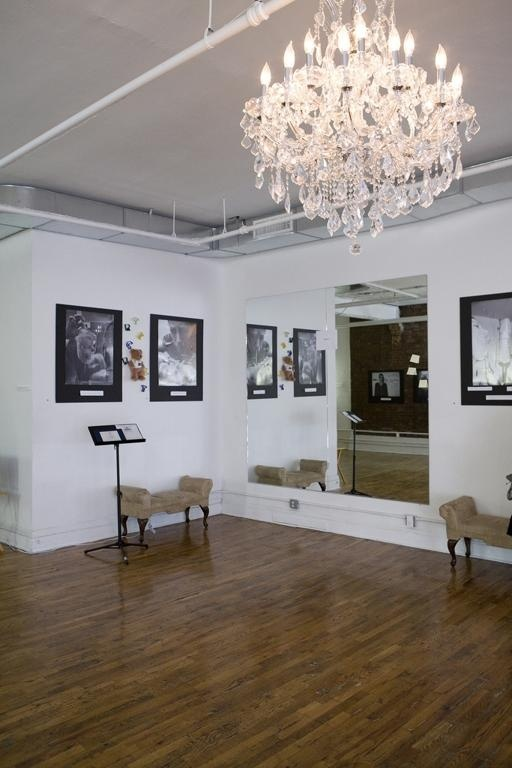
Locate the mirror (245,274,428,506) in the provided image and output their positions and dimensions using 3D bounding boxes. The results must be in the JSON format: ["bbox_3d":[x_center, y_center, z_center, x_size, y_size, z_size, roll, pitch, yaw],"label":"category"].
[{"bbox_3d":[1.019,0.082,6.516,2.695,2.947,0.042,1,1,43],"label":"mirror"}]

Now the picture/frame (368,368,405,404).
[{"bbox_3d":[1.474,0.028,6.175,0.349,0.381,0.026,1,-5,44],"label":"picture/frame"}]

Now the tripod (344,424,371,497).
[{"bbox_3d":[1.137,0.864,6.366,0.219,0.759,0.375,-1,-10,18],"label":"tripod"}]

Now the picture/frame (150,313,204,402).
[{"bbox_3d":[-1.081,-0.335,7.283,0.099,1.450,1.049,-3,-4,40],"label":"picture/frame"}]

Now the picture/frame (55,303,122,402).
[{"bbox_3d":[-1.905,-0.320,6.315,0.046,1.097,0.843,-3,-4,42],"label":"picture/frame"}]

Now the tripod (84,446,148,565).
[{"bbox_3d":[-1.472,1.212,5.927,0.981,1.150,0.695,-3,-4,42],"label":"tripod"}]
